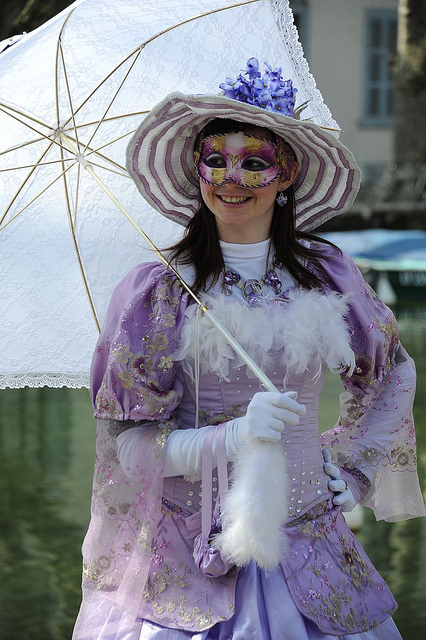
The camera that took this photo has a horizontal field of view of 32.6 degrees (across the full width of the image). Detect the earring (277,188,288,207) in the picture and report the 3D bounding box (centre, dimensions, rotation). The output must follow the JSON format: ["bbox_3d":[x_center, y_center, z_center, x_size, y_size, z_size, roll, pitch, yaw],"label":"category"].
[{"bbox_3d":[0.174,-0.310,1.846,0.018,0.037,0.035,17,47,27],"label":"earring"}]

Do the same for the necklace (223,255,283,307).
[{"bbox_3d":[0.093,-0.074,1.716,0.134,0.057,0.132,-4,38,3],"label":"necklace"}]
